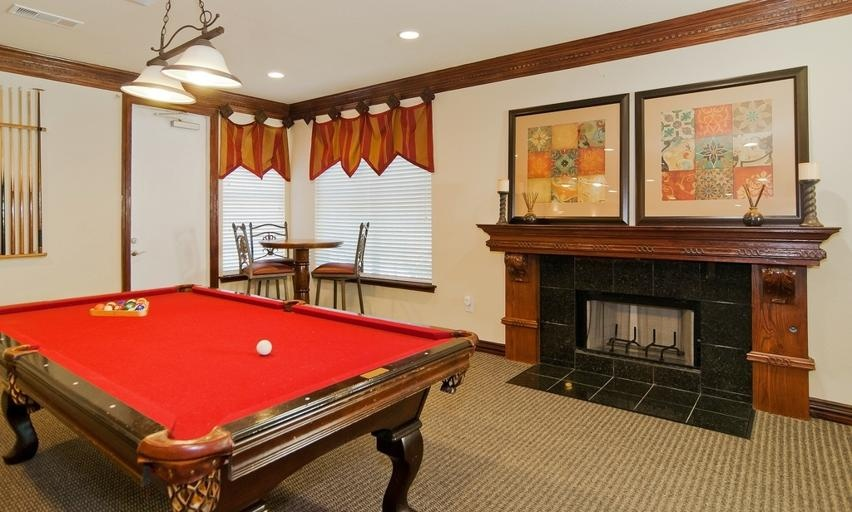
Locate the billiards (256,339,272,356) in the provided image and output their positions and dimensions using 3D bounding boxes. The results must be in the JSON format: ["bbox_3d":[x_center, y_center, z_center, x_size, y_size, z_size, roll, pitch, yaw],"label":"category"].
[{"bbox_3d":[-1.119,0.645,3.833,0.104,0.114,0.109,14,9,38],"label":"billiards"}]

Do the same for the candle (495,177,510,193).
[{"bbox_3d":[0.846,-0.783,5.989,0.175,0.180,0.168,0,3,1],"label":"candle"}]

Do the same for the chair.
[{"bbox_3d":[-1.628,0.108,6.979,1.809,1.192,1.086,0,3,23],"label":"chair"}]

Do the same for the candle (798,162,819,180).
[{"bbox_3d":[3.399,-0.750,4.823,0.137,0.170,0.154,0,6,30],"label":"candle"}]

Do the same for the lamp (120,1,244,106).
[{"bbox_3d":[-2.311,-1.959,5.092,1.068,0.962,0.617,-5,-9,37],"label":"lamp"}]
